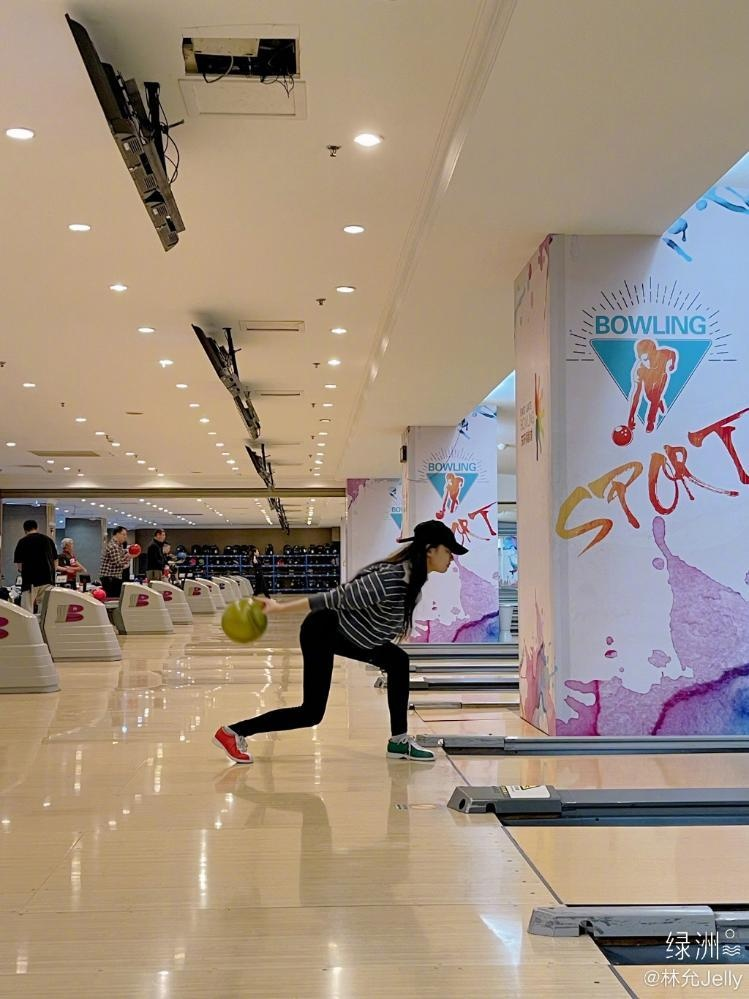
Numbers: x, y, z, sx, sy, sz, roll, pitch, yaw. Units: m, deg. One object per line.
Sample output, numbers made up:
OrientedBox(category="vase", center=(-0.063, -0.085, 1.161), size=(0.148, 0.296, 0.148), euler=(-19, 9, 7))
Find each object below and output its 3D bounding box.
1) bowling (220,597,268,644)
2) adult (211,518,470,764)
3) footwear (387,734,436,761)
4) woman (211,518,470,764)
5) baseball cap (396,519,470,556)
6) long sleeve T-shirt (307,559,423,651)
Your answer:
OrientedBox(category="bowling", center=(-0.577, 0.538, 3.356), size=(0.185, 0.198, 0.205), euler=(-1, -2, -7))
OrientedBox(category="adult", center=(-0.219, 0.678, 3.633), size=(1.090, 1.152, 0.731), euler=(4, -4, -23))
OrientedBox(category="footwear", center=(0.185, 1.235, 3.800), size=(0.225, 0.104, 0.106), euler=(2, -6, 5))
OrientedBox(category="woman", center=(-0.081, 0.602, 4.124), size=(1.358, 1.377, 1.049), euler=(9, 5, 3))
OrientedBox(category="baseball cap", center=(0.285, 0.170, 3.502), size=(0.295, 0.132, 0.159), euler=(3, -6, -2))
OrientedBox(category="long sleeve T-shirt", center=(-0.075, 0.491, 3.481), size=(0.446, 0.421, 0.244), euler=(-1, -2, -5))
